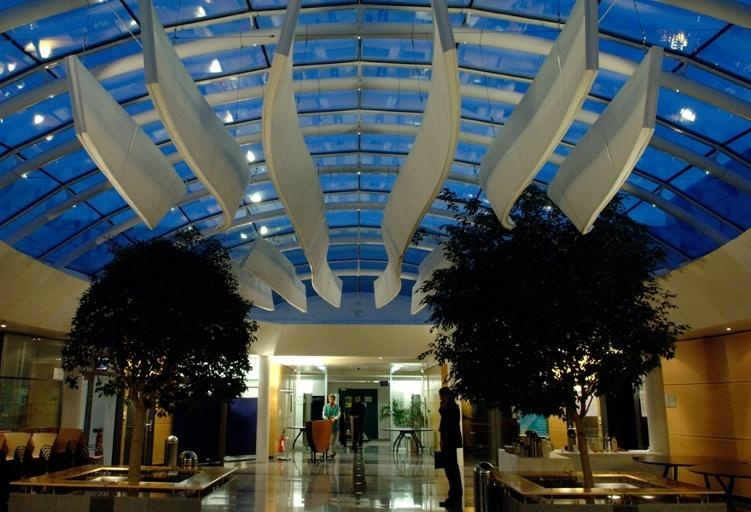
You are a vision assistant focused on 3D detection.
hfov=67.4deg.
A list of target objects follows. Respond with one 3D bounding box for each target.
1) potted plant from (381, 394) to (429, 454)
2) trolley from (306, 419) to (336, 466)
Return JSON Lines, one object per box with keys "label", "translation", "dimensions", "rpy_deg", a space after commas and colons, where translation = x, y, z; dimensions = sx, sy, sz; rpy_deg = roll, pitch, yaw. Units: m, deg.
{"label": "potted plant", "translation": [2.116, 10.319, 33.159], "dimensions": [2.726, 2.906, 3.186], "rpy_deg": [0, -7, -2]}
{"label": "trolley", "translation": [-2.768, 9.279, 28.273], "dimensions": [1.563, 1.822, 1.647], "rpy_deg": [-6, -17, 11]}
